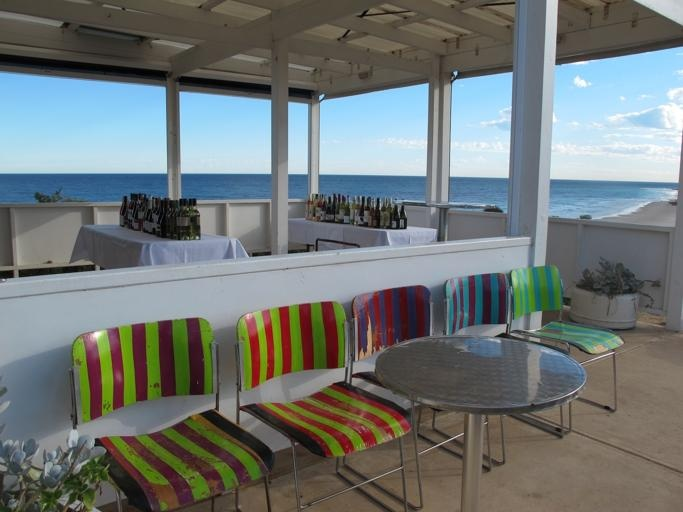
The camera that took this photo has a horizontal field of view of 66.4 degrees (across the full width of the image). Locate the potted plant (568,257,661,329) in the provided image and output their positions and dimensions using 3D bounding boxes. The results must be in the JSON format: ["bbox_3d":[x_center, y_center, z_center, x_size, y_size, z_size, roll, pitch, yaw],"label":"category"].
[{"bbox_3d":[2.783,0.393,5.253,0.744,0.662,0.564,3,11,30],"label":"potted plant"}]

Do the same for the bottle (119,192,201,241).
[{"bbox_3d":[-1.553,-0.364,4.573,0.341,0.486,1.318,-3,10,-36],"label":"bottle"}]
